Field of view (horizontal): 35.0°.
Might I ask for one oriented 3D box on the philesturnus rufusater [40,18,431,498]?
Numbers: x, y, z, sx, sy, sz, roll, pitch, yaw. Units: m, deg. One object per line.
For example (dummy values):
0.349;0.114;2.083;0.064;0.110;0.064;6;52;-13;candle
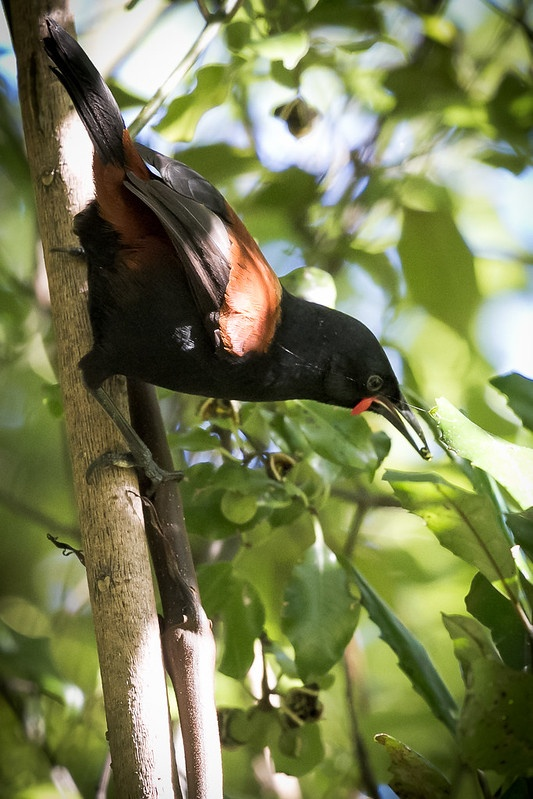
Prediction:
-0.110;-0.259;1.693;0.621;0.687;0.779;-18;56;-10;philesturnus rufusater
